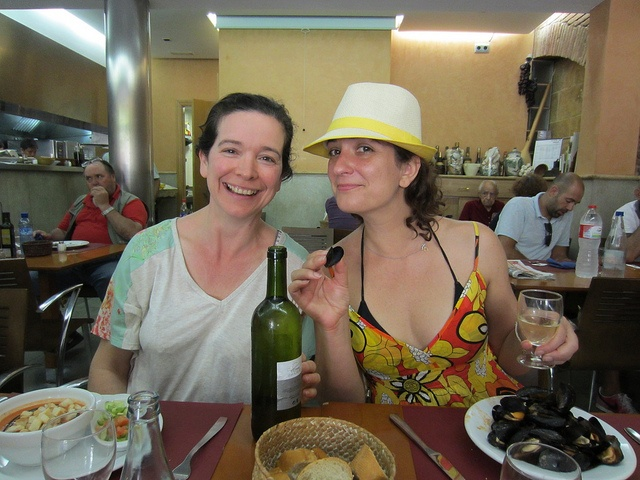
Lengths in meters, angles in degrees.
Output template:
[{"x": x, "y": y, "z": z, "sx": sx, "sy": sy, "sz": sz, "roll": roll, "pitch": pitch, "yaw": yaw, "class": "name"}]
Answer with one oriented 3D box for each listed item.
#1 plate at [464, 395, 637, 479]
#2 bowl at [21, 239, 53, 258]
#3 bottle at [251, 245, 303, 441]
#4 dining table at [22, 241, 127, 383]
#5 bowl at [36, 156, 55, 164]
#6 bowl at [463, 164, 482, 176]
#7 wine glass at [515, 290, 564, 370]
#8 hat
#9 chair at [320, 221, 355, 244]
[{"x": 0.695, "y": 0.588, "z": 1.442, "sx": 0.497, "sy": 0.150, "sz": 0.262, "roll": 2, "pitch": 10, "yaw": 10, "class": "plate"}, {"x": -2.089, "y": 0.060, "z": 3.516, "sx": 0.152, "sy": 0.071, "sz": 0.137, "roll": 1, "pitch": 4, "yaw": -25, "class": "bowl"}, {"x": -0.134, "y": 0.310, "z": 1.451, "sx": 0.155, "sy": 0.591, "sz": 0.140, "roll": 0, "pitch": 10, "yaw": -6, "class": "bottle"}, {"x": -1.658, "y": 0.459, "z": 3.539, "sx": 0.750, "sy": 0.733, "sz": 0.754, "roll": 0, "pitch": 1, "yaw": -5, "class": "dining table"}, {"x": -3.609, "y": -1.030, "z": 6.201, "sx": 0.137, "sy": 0.064, "sz": 0.140, "roll": 1, "pitch": 5, "yaw": 0, "class": "bowl"}, {"x": 2.074, "y": -0.960, "z": 6.490, "sx": 0.189, "sy": 0.145, "sz": 0.182, "roll": 0, "pitch": -4, "yaw": 0, "class": "bowl"}, {"x": 0.801, "y": 0.320, "z": 1.748, "sx": 0.152, "sy": 0.254, "sz": 0.193, "roll": 6, "pitch": 11, "yaw": 26, "class": "wine glass"}, {"x": 0.240, "y": -0.510, "z": 1.977, "sx": 0.367, "sy": 0.208, "sz": 0.373, "roll": 0, "pitch": 8, "yaw": -1, "class": "hat"}, {"x": 0.144, "y": -0.063, "z": 3.769, "sx": 0.121, "sy": 0.224, "sz": 0.229, "roll": 3, "pitch": 5, "yaw": 39, "class": "chair"}]
